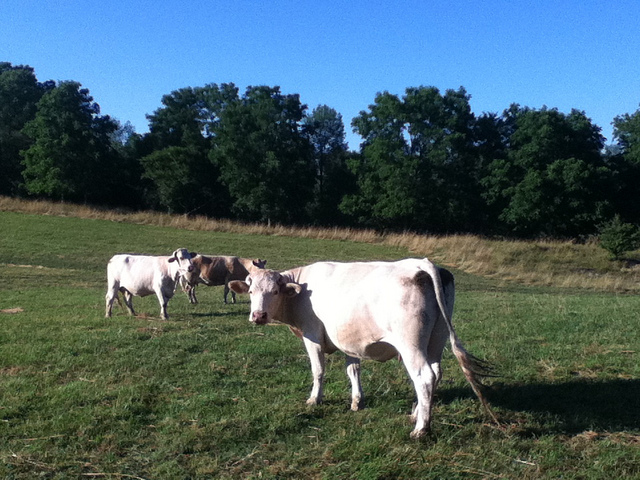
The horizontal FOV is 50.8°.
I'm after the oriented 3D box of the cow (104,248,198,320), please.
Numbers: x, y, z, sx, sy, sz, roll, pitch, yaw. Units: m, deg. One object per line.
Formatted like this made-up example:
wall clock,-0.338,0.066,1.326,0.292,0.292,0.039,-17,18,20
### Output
cow,-5.586,1.544,22.395,3.265,2.334,1.031,-3,-2,20
